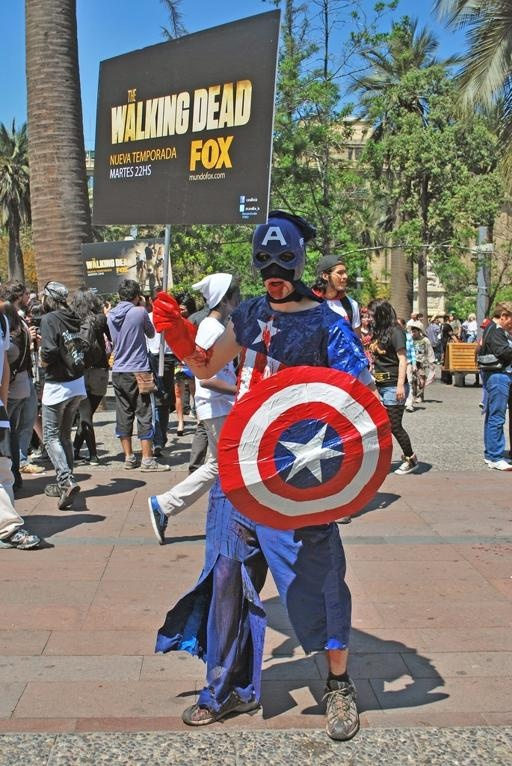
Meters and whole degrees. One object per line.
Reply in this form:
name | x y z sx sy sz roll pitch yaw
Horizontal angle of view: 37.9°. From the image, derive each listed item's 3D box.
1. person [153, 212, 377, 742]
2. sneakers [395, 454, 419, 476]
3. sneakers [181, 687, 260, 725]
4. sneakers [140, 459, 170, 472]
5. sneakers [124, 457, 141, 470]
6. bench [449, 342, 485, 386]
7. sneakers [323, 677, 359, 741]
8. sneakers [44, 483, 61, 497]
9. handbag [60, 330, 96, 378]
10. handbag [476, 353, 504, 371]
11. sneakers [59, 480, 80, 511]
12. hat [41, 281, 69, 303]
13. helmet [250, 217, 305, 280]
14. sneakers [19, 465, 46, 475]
person | 0.006 0.289 2.593 0.761 1.740 0.440 0 7 11
sneakers | 1.500 0.767 7.470 0.215 0.188 0.307 0 7 9
sneakers | -0.124 1.111 2.628 0.291 0.107 0.095 7 -9 -22
sneakers | -1.004 0.793 7.469 0.313 0.134 0.121 0 2 -10
sneakers | -1.232 0.769 7.498 0.083 0.096 0.209 3 11 17
bench | 4.926 -0.521 17.663 1.282 0.866 0.866 -2 7 -10
sneakers | 0.290 1.070 2.483 0.079 0.086 0.199 -1 -2 4
sneakers | -1.689 0.868 6.222 0.090 0.111 0.194 -4 7 -26
handbag | -1.494 -0.258 6.160 0.211 0.376 0.319 -3 7 -13
handbag | 2.409 -0.242 7.643 0.204 0.112 0.147 9 19 7
sneakers | -1.462 0.834 5.814 0.150 0.254 0.381 -3 7 -15
hat | -1.719 -0.790 6.396 0.188 0.181 0.287 -3 7 -16
helmet | 0.080 -0.435 2.455 0.166 0.211 0.221 -1 13 12
sneakers | -2.184 0.825 7.303 0.236 0.099 0.089 4 41 -19
